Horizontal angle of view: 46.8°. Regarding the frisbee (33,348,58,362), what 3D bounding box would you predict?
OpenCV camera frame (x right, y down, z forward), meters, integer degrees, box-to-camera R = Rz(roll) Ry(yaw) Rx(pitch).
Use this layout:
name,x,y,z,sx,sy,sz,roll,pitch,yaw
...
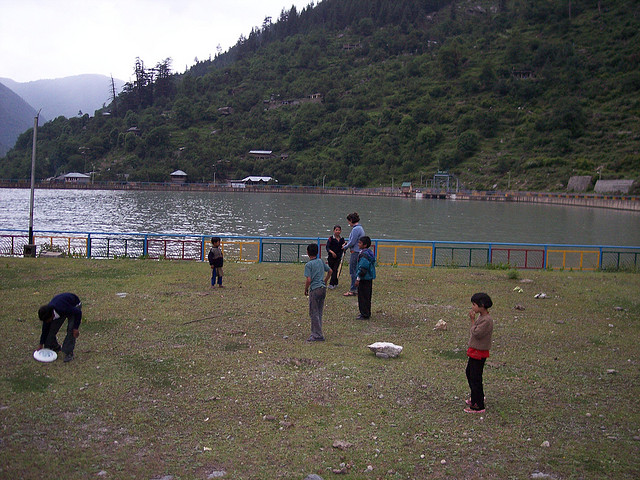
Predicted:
name,x,y,z,sx,sy,sz,roll,pitch,yaw
frisbee,-6.136,2.582,16.512,0.488,0.253,0.296,-1,3,-19

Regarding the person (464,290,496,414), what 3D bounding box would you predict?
name,x,y,z,sx,sy,sz,roll,pitch,yaw
person,3.242,2.307,15.087,0.524,2.455,0.457,1,3,12

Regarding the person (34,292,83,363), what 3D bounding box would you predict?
name,x,y,z,sx,sy,sz,roll,pitch,yaw
person,-5.985,1.937,16.937,0.943,1.529,1.589,-1,3,-22
